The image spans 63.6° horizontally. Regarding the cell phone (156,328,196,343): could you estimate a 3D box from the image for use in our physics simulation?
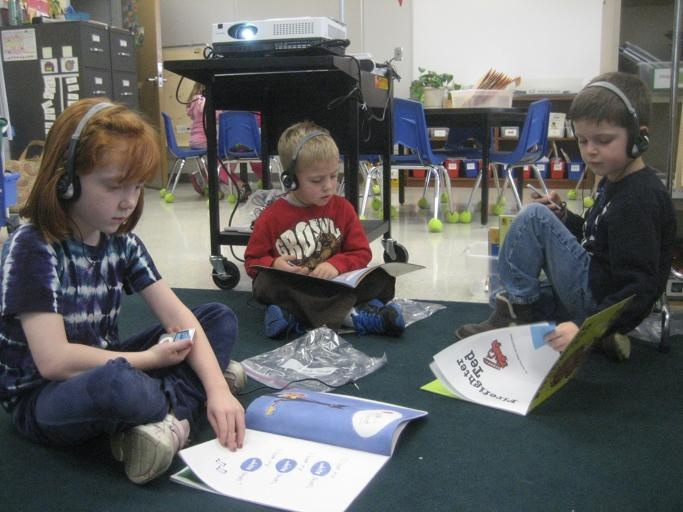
[{"bbox_3d":[-0.367,0.179,1.229,0.074,0.014,0.042,-5,21,34],"label":"cell phone"}]

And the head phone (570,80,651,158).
[{"bbox_3d":[0.756,-0.382,1.524,0.175,0.214,0.101,5,14,23],"label":"head phone"}]

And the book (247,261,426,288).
[{"bbox_3d":[0.027,0.062,1.850,0.392,0.075,0.209,-3,-3,-19],"label":"book"}]

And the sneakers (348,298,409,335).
[{"bbox_3d":[0.117,0.201,1.818,0.231,0.110,0.087,5,-4,13],"label":"sneakers"}]

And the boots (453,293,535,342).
[{"bbox_3d":[0.482,0.165,1.703,0.213,0.142,0.084,-9,46,13],"label":"boots"}]

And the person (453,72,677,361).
[{"bbox_3d":[0.663,-0.185,1.927,0.713,1.017,0.788,3,15,20],"label":"person"}]

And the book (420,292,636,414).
[{"bbox_3d":[0.465,0.203,1.365,0.400,0.249,0.278,13,22,39],"label":"book"}]

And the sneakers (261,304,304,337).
[{"bbox_3d":[-0.202,0.210,1.827,0.088,0.054,0.116,10,2,8],"label":"sneakers"}]

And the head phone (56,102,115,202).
[{"bbox_3d":[-0.508,-0.198,1.093,0.043,0.172,0.162,11,10,12],"label":"head phone"}]
